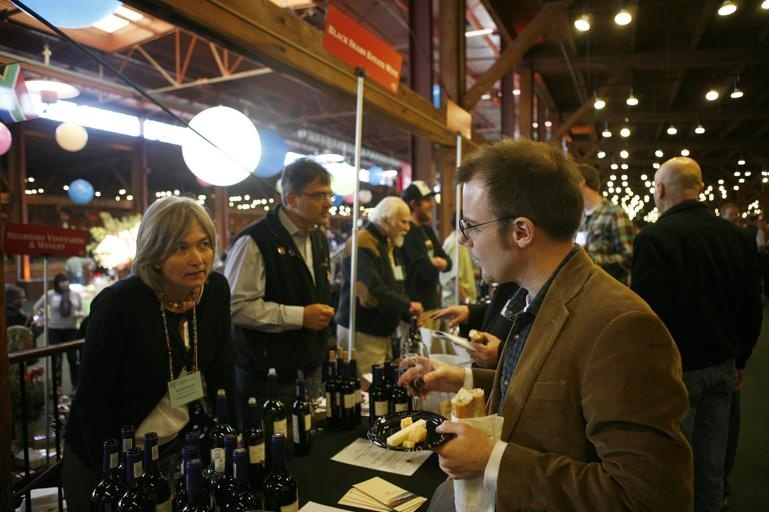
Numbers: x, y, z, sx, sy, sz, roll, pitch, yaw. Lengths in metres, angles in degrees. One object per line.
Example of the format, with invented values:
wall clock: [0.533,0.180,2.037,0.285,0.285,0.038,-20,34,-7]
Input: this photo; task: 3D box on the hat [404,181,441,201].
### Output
hat: [0.372,-0.691,6.988,0.293,0.167,0.207,-10,11,-3]

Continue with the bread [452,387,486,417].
bread: [0.485,0.842,3.751,0.156,0.156,0.159,-4,-11,-2]

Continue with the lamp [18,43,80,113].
lamp: [-2.796,-1.498,5.408,0.412,0.492,0.425,-1,6,-5]
